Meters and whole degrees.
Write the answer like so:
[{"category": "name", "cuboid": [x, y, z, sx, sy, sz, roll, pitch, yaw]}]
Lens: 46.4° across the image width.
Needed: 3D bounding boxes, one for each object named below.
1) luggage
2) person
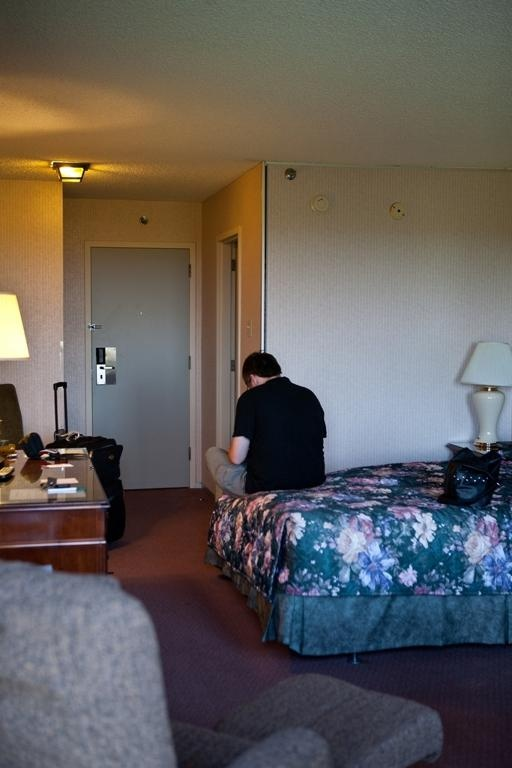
[{"category": "luggage", "cuboid": [-1.351, 0.587, 4.689, 0.570, 1.221, 0.806, 0, -1, -22]}, {"category": "person", "cuboid": [0.101, 0.341, 3.799, 0.731, 1.050, 0.770, -4, -7, 33]}]
